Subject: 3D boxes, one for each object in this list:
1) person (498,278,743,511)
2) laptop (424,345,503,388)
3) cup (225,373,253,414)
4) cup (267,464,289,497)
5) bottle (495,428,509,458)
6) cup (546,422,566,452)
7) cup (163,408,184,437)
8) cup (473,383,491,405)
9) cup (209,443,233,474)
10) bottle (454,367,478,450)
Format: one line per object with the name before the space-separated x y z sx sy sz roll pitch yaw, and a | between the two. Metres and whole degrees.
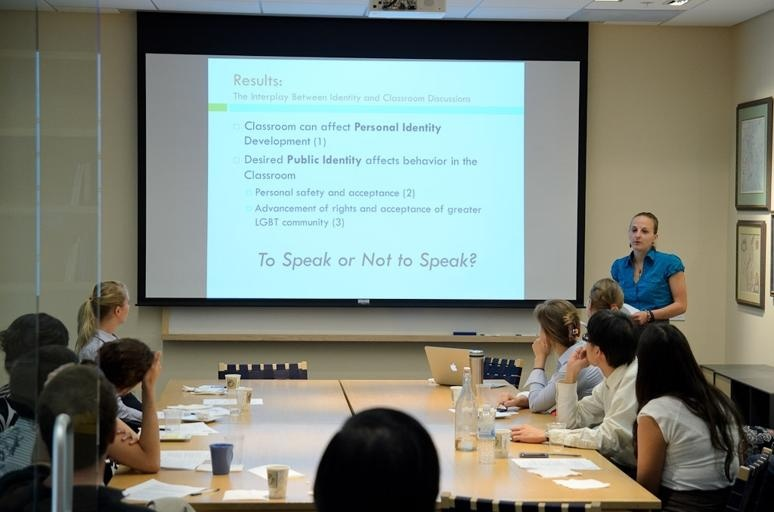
person | 0.943 0.618 2.910 0.569 1.385 0.930 -2 5 -10
laptop | 0.463 0.660 3.599 0.354 0.299 0.403 8 -23 -17
cup | -0.816 0.743 3.267 0.100 0.133 0.322 0 1 -6
cup | -0.385 0.787 2.101 0.071 0.103 0.099 0 -3 -10
bottle | 0.472 0.779 2.492 0.079 0.095 0.086 2 8 6
cup | 0.765 0.815 2.665 0.071 0.127 0.075 0 1 0
cup | -0.962 0.740 2.692 0.099 0.121 0.102 -2 -1 0
cup | 0.403 0.602 2.573 0.085 0.115 0.072 2 -15 -5
cup | -0.625 0.765 2.288 0.084 0.109 0.104 1 2 9
bottle | 0.359 0.696 2.608 0.112 0.405 0.120 5 -40 4
